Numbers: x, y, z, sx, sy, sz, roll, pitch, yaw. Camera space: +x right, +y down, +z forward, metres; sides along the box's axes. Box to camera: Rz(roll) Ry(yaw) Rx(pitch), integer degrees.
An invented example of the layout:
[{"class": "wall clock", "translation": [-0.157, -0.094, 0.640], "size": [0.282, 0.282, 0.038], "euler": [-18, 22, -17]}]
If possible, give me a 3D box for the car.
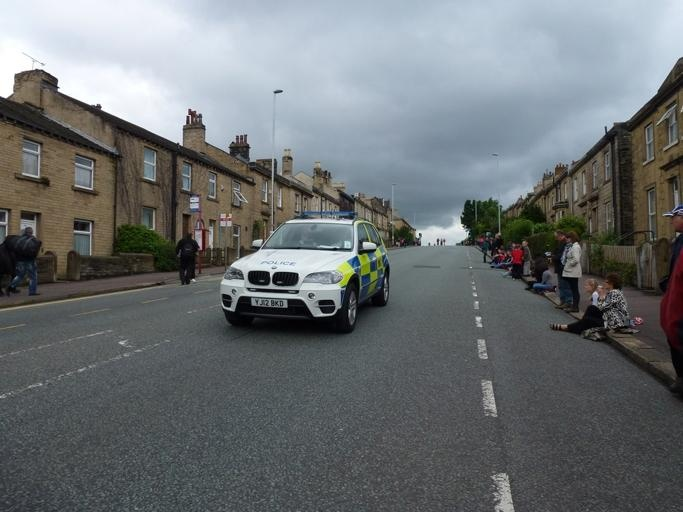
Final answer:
[{"class": "car", "translation": [-0.302, 0.294, 10.745], "size": [1.589, 1.609, 3.297], "euler": [-2, -4, 15]}]
